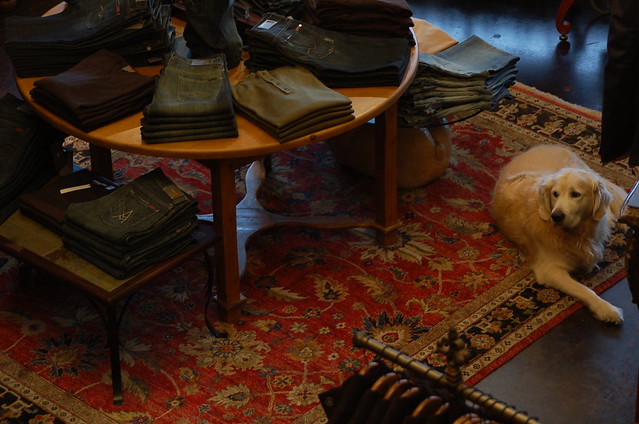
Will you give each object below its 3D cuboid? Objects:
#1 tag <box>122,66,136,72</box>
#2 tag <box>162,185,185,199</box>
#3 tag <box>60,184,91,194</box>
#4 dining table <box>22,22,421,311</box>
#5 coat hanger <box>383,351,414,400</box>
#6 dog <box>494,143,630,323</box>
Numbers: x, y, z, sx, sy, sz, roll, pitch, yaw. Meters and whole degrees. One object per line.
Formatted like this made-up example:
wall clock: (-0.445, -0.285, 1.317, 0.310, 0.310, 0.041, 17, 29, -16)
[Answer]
tag: (-1.057, -0.797, 2.958, 0.075, 0.018, 0.068, -11, 38, -31)
tag: (-0.723, -0.101, 2.639, 0.061, 0.011, 0.084, -19, 50, -25)
tag: (-1.277, -0.125, 2.803, 0.147, 0.013, 0.031, -16, 44, -14)
dining table: (-0.312, -0.334, 3.149, 2.113, 1.142, 1.260, -20, 45, -16)
coat hanger: (0.246, 0.531, 1.702, 0.100, 0.046, 0.136, 31, 83, 29)
dog: (1.377, 0.035, 3.049, 0.693, 0.378, 0.999, -26, 49, -19)
